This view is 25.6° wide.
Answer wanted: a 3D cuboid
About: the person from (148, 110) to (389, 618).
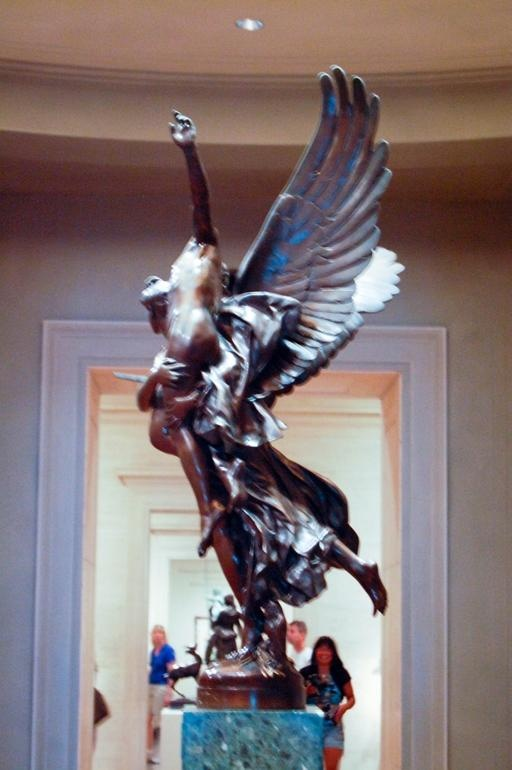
[{"bbox_3d":[0.032,-0.094,4.120,0.918,1.848,0.548,2,-13,-5],"label":"person"}]
